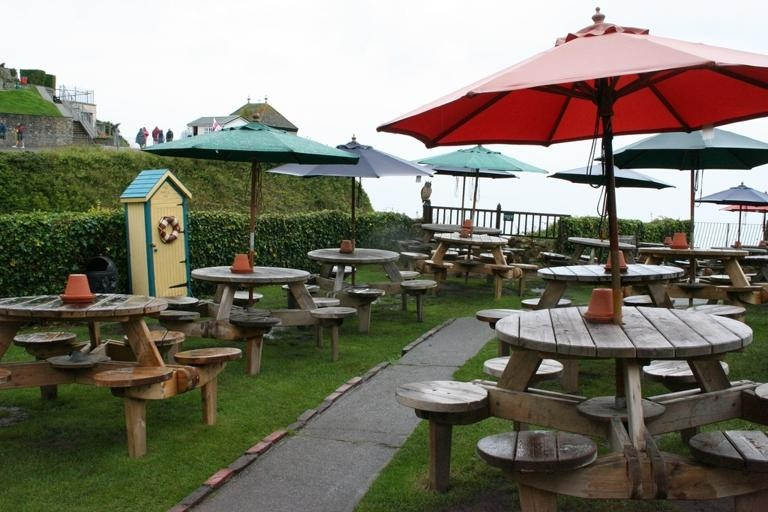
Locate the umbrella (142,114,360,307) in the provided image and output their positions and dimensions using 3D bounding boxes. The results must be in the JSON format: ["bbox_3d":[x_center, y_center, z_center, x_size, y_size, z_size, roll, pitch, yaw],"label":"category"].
[{"bbox_3d":[-2.086,-0.986,8.666,2.501,2.284,1.858,3,11,14],"label":"umbrella"}]

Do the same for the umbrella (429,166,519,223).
[{"bbox_3d":[2.600,-2.121,15.339,2.349,1.273,2.090,4,-10,8],"label":"umbrella"}]

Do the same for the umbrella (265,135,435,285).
[{"bbox_3d":[-0.481,-0.759,10.605,3.531,1.921,3.093,2,5,2],"label":"umbrella"}]
